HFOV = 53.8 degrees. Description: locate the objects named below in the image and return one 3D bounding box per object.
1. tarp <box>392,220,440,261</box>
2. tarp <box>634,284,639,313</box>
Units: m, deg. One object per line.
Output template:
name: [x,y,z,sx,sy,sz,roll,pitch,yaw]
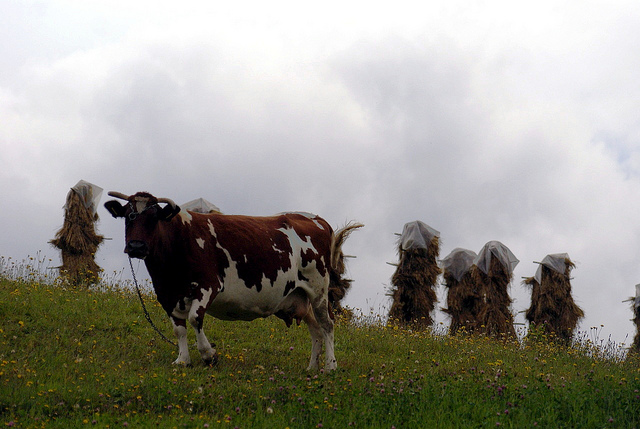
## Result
tarp: [3.669,0.986,24.062,1.369,1.469,0.765,2,2,10]
tarp: [14.320,3.812,28.488,0.181,1.118,1.070,2,2,26]
